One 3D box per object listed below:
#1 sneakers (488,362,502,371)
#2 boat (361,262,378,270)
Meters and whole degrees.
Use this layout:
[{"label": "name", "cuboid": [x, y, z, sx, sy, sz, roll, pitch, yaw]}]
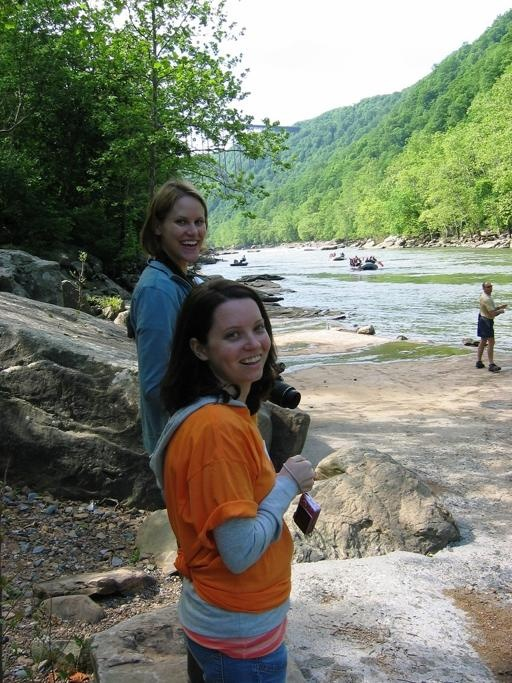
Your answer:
[{"label": "sneakers", "cuboid": [5.274, 0.582, 13.410, 0.341, 0.208, 0.131, -1, 3, 42]}, {"label": "boat", "cuboid": [9.938, -6.599, 52.755, 1.469, 0.866, 2.538, 2, 4, 9]}]
